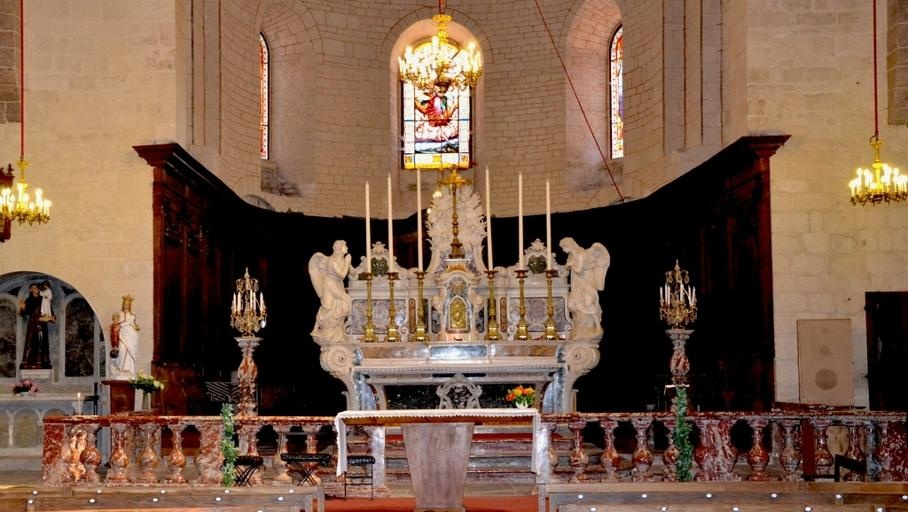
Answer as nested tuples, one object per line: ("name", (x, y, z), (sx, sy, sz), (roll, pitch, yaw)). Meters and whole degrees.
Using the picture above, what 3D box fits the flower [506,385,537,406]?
("flower", (1.127, 2.502, 37.131), (0.440, 0.269, 0.416), (4, -9, -24))

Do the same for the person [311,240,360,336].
("person", (-2.289, 0.604, 38.188), (0.757, 1.738, 0.724), (-3, 0, -4))

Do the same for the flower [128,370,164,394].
("flower", (-5.671, 2.260, 37.171), (0.516, 0.312, 0.477), (4, -4, 3))

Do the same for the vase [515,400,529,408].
("vase", (1.172, 2.620, 36.921), (0.164, 0.095, 0.164), (-1, -1, -3))

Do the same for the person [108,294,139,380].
("person", (-6.144, 1.498, 37.962), (0.514, 1.645, 0.551), (2, -2, 37))

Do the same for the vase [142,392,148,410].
("vase", (-5.760, 2.609, 37.593), (0.133, 0.302, 0.330), (-1, -8, -9))

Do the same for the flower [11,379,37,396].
("flower", (-8.167, 2.418, 38.342), (0.324, 0.207, 0.315), (4, -10, -19))
